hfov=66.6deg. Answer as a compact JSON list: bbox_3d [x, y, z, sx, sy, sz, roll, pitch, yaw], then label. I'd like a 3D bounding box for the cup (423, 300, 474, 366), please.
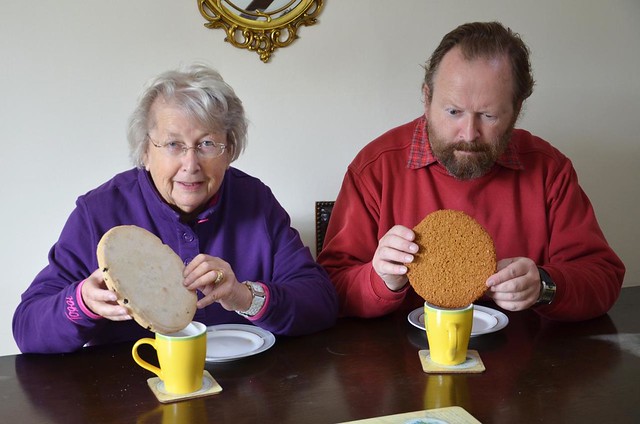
[{"bbox_3d":[0.397,0.372,1.488,0.153,0.168,0.231,-1,3,7],"label":"cup"}]

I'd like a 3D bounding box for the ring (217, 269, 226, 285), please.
[{"bbox_3d":[-0.323,0.209,1.582,0.032,0.039,0.035,4,52,-5],"label":"ring"}]

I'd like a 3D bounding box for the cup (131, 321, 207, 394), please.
[{"bbox_3d":[-0.421,0.423,1.399,0.203,0.170,0.119,-10,11,-24],"label":"cup"}]

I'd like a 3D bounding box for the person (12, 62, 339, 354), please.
[{"bbox_3d":[-0.556,0.052,1.914,1.281,1.116,0.797,-4,20,-24],"label":"person"}]

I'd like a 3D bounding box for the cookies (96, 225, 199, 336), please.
[{"bbox_3d":[-0.502,0.191,1.444,0.219,0.307,0.203,-4,10,8],"label":"cookies"}]

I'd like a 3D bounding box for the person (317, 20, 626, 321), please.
[{"bbox_3d":[0.651,-0.145,2.186,1.333,1.194,0.954,-1,24,7],"label":"person"}]
